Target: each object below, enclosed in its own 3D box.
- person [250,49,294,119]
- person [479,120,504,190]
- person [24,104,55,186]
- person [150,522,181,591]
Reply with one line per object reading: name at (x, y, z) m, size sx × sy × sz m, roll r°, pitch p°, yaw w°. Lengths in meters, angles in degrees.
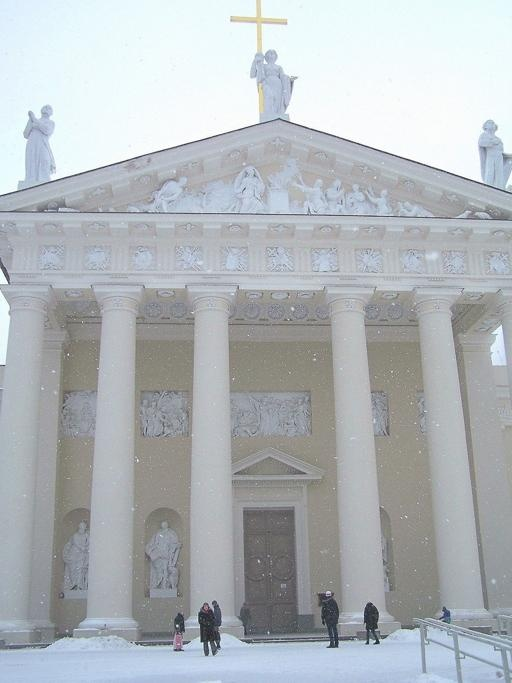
person at (0.379, -6.023, 16.448) m, size 0.975 × 2.283 × 0.693 m, roll -3°, pitch -19°, yaw 2°
person at (5.451, -4.298, 16.122) m, size 0.568 × 1.857 × 0.693 m, roll -9°, pitch -20°, yaw 18°
person at (-4.857, -4.450, 15.556) m, size 0.672 × 1.936 × 0.506 m, roll 1°, pitch -15°, yaw -9°
person at (-2.192, 5.177, 16.398) m, size 0.818 × 1.685 × 0.198 m, roll 0°, pitch -19°, yaw -8°
